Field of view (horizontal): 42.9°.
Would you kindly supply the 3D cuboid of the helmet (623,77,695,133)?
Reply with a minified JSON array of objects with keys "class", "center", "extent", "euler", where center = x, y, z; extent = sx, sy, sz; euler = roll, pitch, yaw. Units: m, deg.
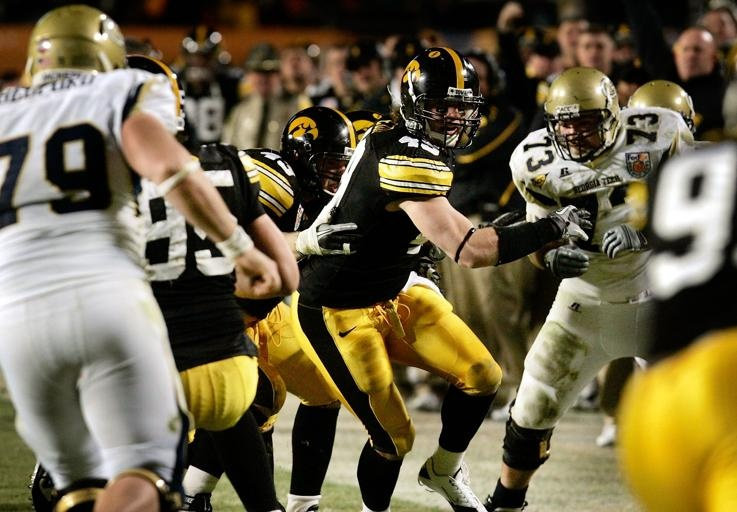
[{"class":"helmet","center":[1.545,-0.792,4.931],"extent":[0.314,0.228,0.553],"euler":[0,14,10]}]

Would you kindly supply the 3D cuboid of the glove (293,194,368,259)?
[{"class":"glove","center":[-0.176,-0.085,4.077],"extent":[0.293,0.200,0.119],"euler":[-10,-7,25]}]

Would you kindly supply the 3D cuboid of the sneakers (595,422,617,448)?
[{"class":"sneakers","center":[1.416,1.051,5.556],"extent":[0.078,0.063,0.151],"euler":[12,37,30]}]

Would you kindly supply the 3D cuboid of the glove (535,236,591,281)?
[{"class":"glove","center":[0.832,0.008,4.100],"extent":[0.153,0.096,0.194],"euler":[15,-13,-30]}]

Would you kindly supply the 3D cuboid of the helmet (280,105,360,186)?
[{"class":"helmet","center":[-0.238,-0.526,4.355],"extent":[0.376,0.361,0.310],"euler":[3,11,2]}]

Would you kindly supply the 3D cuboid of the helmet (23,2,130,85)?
[{"class":"helmet","center":[-1.050,-0.751,3.344],"extent":[0.249,0.261,0.331],"euler":[-7,31,-39]}]

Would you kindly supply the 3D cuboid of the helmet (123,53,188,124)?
[{"class":"helmet","center":[-0.899,-0.700,4.039],"extent":[0.220,0.317,0.634],"euler":[-7,14,-15]}]
